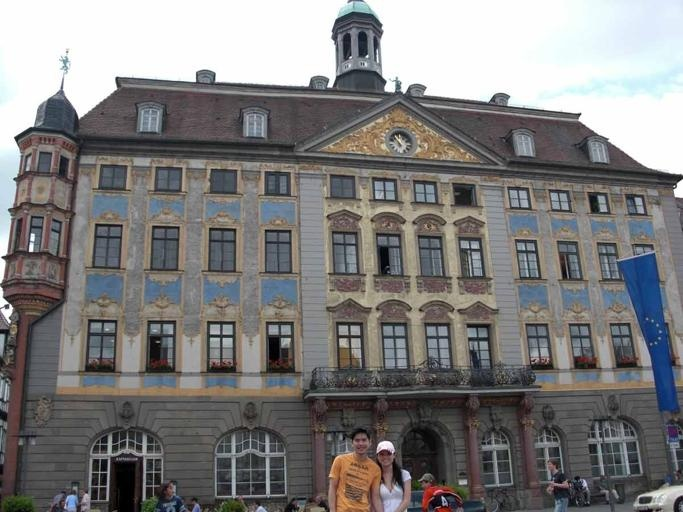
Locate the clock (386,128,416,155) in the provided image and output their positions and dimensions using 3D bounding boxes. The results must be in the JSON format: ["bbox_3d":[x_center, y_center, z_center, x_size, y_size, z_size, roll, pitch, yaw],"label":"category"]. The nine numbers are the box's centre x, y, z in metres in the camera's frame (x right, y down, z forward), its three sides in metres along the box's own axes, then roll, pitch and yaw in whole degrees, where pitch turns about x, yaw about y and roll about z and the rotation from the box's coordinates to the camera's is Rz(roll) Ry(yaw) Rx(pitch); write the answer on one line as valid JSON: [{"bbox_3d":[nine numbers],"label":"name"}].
[{"bbox_3d":[3.564,-6.910,43.854,1.559,1.443,0.173,25,-33,-9],"label":"clock"}]

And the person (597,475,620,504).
[{"bbox_3d":[14.658,12.749,39.774,0.949,1.478,1.977,-11,-22,24],"label":"person"}]

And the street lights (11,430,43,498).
[{"bbox_3d":[-15.655,10.152,35.657,0.837,2.896,0.420,7,-23,-22],"label":"street lights"}]
